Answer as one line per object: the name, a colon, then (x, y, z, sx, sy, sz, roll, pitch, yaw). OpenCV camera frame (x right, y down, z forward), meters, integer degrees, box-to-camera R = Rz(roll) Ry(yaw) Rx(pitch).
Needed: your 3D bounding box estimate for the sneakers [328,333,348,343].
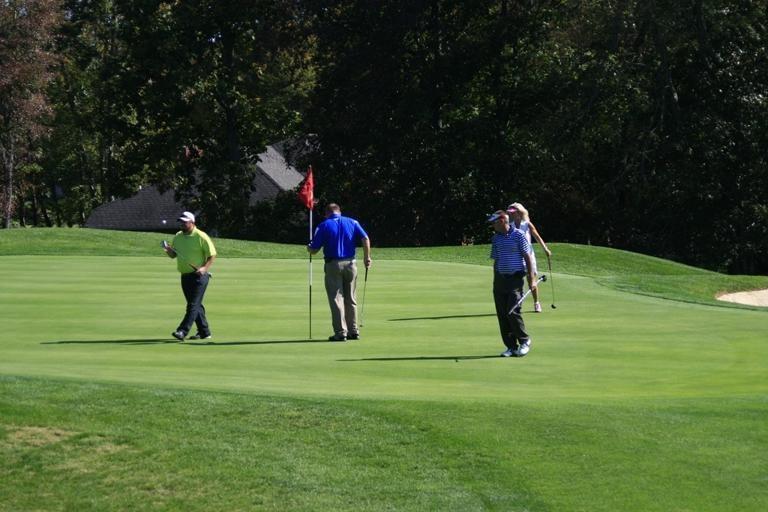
sneakers: (-1.049, 1.843, 23.591, 0.433, 0.180, 0.156, 3, 9, 35)

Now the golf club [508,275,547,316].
golf club: (3.335, 0.951, 24.656, 0.191, 1.280, 0.158, 39, -13, 18)

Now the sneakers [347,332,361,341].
sneakers: (-0.701, 1.818, 23.676, 0.189, 0.098, 0.172, -10, -2, 14)

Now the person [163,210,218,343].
person: (-4.355, 0.493, 23.665, 1.127, 2.858, 1.186, -2, 11, -22)

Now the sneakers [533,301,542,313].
sneakers: (3.766, 1.274, 25.864, 0.175, 0.213, 0.513, 0, 2, 9)

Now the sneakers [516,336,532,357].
sneakers: (2.952, 1.942, 22.239, 0.237, 0.506, 0.187, 27, -11, -19)
